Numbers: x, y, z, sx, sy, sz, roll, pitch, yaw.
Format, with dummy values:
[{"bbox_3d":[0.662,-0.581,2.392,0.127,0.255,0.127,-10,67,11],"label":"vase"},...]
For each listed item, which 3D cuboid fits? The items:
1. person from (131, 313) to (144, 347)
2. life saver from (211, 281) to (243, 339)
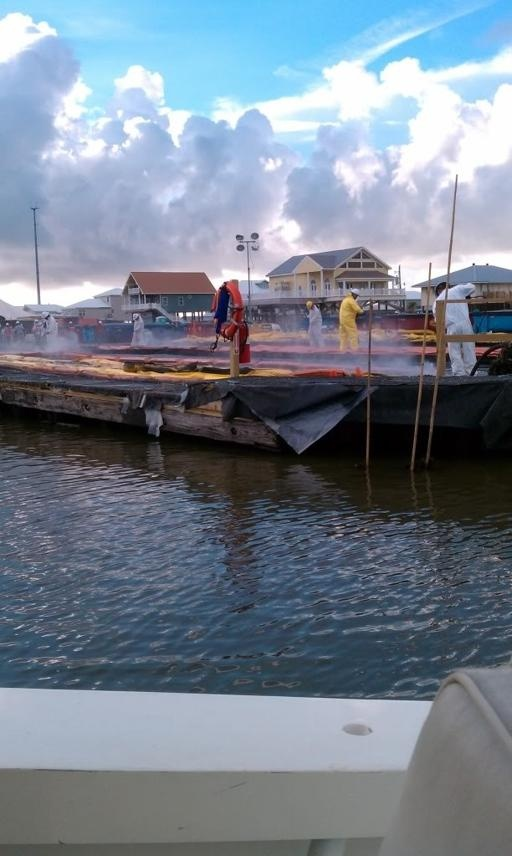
[{"bbox_3d":[-5.321,-4.436,32.990,0.473,1.282,2.186,-2,12,-11],"label":"person"},{"bbox_3d":[-0.451,-1.864,11.480,0.446,0.901,1.259,0,12,-3],"label":"life saver"}]
